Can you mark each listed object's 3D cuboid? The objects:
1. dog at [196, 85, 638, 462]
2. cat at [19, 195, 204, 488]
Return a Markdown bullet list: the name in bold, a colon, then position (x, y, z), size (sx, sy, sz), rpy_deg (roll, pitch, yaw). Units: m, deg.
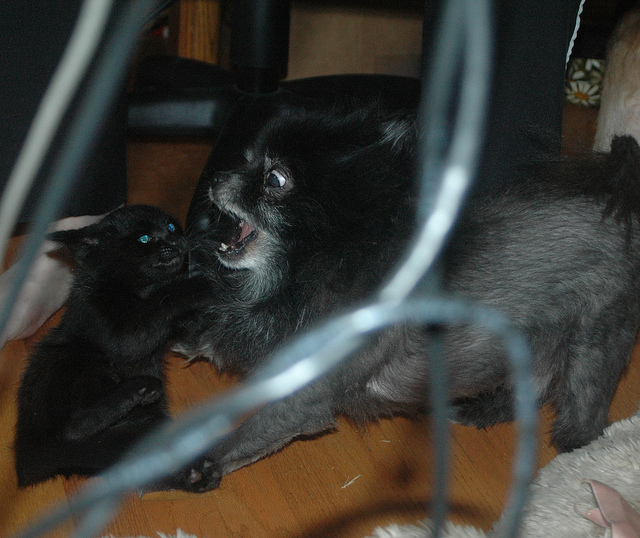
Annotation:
- **dog**: position (0.121, -0.035, 1.591), size (0.985, 0.647, 0.403), rpy_deg (2, 5, 4)
- **cat**: position (-0.367, 0.109, 1.406), size (0.289, 0.376, 0.386), rpy_deg (-1, 22, -10)
